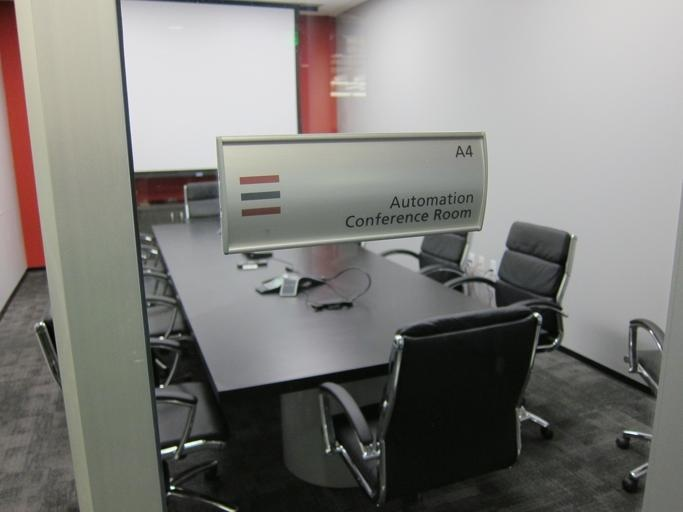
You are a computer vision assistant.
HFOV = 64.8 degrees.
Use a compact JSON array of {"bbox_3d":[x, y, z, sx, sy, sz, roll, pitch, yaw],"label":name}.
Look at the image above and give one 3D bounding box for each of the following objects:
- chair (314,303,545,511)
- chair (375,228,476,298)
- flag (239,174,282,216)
[{"bbox_3d":[0.297,0.406,1.974,0.738,0.761,0.637,-8,20,-22],"label":"chair"},{"bbox_3d":[0.472,-0.003,3.091,0.345,0.469,0.364,-8,16,-29],"label":"chair"},{"bbox_3d":[-0.182,-0.137,1.215,0.090,0.091,0.022,-5,7,-14],"label":"flag"}]
